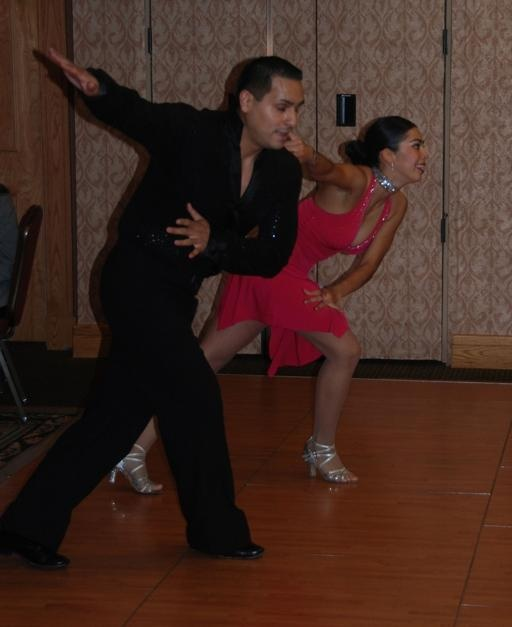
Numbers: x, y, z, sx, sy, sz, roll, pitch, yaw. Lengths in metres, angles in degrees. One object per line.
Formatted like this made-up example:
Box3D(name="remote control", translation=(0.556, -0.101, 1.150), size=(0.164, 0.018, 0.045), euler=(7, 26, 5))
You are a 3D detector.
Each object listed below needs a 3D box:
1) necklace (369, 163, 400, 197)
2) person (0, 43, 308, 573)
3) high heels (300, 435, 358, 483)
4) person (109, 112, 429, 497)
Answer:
Box3D(name="necklace", translation=(0.438, -0.456, 1.991), size=(0.087, 0.032, 0.064), euler=(44, -1, -3))
Box3D(name="person", translation=(-0.093, -0.119, 1.976), size=(1.006, 1.750, 0.937), euler=(6, 9, 6))
Box3D(name="high heels", translation=(0.260, 0.508, 2.040), size=(0.241, 0.158, 0.095), euler=(5, 5, 16))
Box3D(name="person", translation=(0.006, -0.064, 1.928), size=(1.148, 1.334, 0.786), euler=(-3, -5, 13))
